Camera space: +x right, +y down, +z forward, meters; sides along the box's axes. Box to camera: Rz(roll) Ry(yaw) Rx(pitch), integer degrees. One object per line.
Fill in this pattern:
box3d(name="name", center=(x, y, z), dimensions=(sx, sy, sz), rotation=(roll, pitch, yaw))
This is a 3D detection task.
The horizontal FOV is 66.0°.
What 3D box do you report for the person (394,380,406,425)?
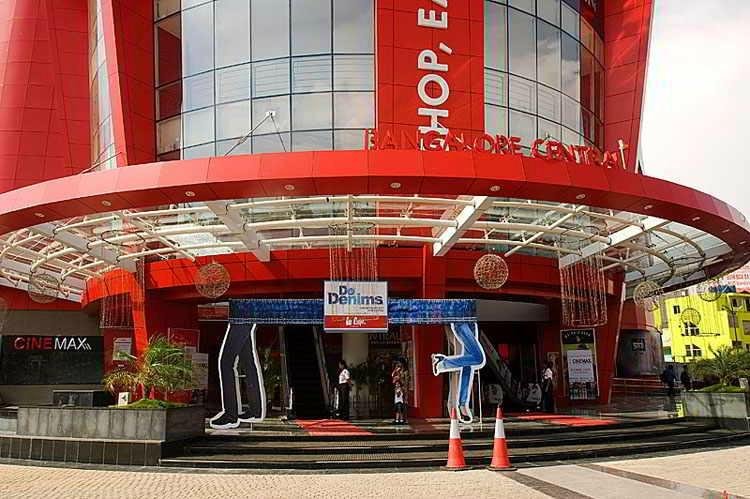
box3d(name="person", center=(0.971, 5.710, 21.570), dimensions=(0.444, 1.532, 0.637), rotation=(-3, -16, 0))
